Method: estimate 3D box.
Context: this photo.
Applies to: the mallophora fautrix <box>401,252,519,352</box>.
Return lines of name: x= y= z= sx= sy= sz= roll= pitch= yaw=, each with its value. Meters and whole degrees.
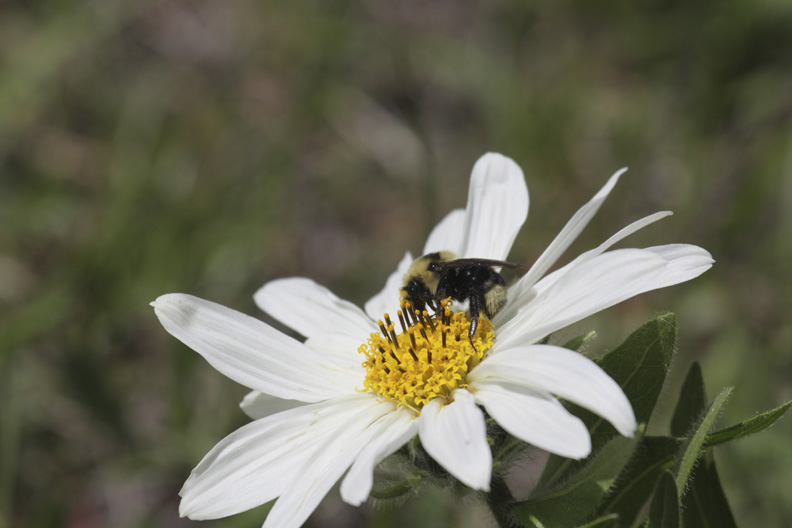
mallophora fautrix: x=0.244 y=0.136 z=3.189 sx=0.295 sy=0.166 sz=0.395 roll=-9 pitch=8 yaw=-40
